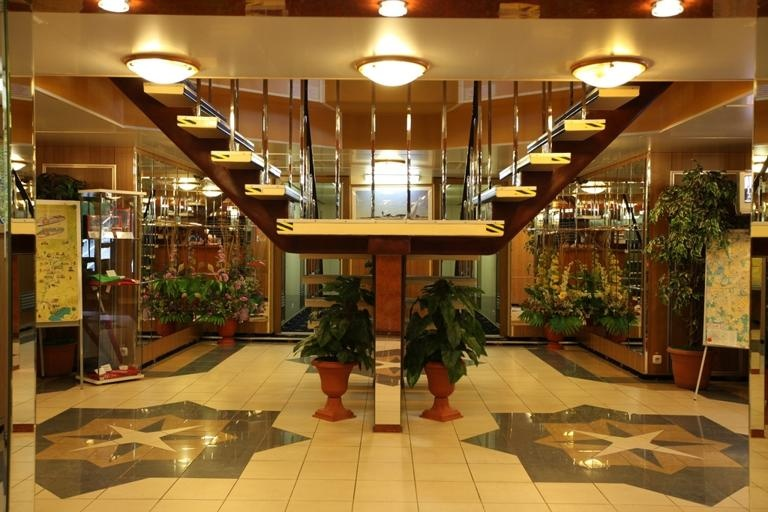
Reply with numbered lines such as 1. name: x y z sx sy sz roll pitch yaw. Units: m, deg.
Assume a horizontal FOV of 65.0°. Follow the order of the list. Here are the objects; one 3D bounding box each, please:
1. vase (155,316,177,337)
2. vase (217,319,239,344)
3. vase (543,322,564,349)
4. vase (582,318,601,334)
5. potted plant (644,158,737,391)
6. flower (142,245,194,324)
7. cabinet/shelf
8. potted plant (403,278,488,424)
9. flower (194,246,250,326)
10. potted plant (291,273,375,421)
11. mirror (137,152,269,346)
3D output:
1. vase: -3.510 1.150 9.674 0.253 0.236 0.245 2 -1 -6
2. vase: -2.774 1.347 10.691 0.437 0.513 0.411 3 -6 -17
3. vase: 2.972 1.412 10.555 0.393 0.410 0.389 -1 -1 18
4. vase: 3.533 1.207 10.242 0.209 0.248 0.371 1 0 0
5. potted plant: 4.172 0.056 8.155 0.783 2.491 0.984 -3 7 -29
6. flower: -3.467 0.487 9.763 1.047 1.519 1.204 0 0 -17
7. cabinet/shelf: -3.507 0.340 7.759 0.889 2.260 0.588 1 3 -8
8. potted plant: 0.691 1.142 6.809 0.791 1.324 0.833 3 -5 -32
9. flower: -2.856 0.510 10.700 0.936 1.225 0.931 -1 6 -11
10. potted plant: -0.553 0.996 7.018 0.834 1.542 1.150 0 6 -4
11. mirror: -3.146 -0.541 11.182 2.456 2.234 1.295 4 32 9
